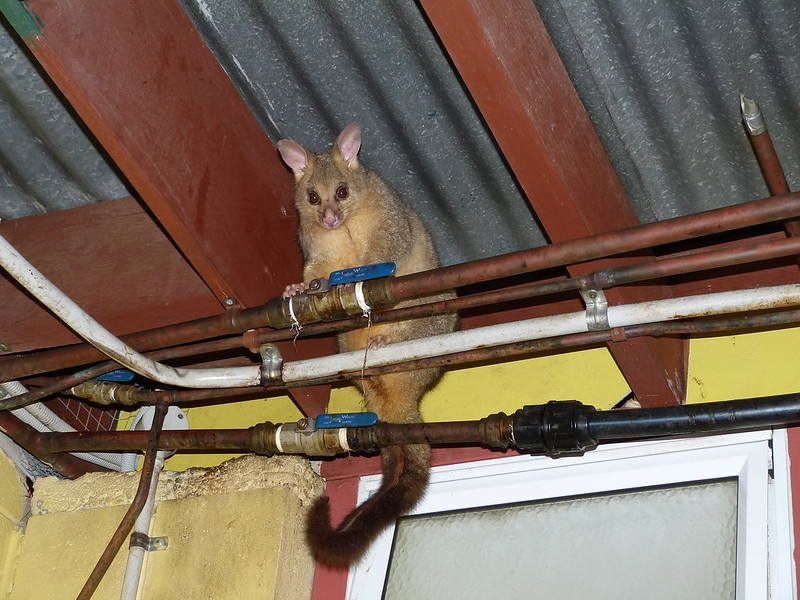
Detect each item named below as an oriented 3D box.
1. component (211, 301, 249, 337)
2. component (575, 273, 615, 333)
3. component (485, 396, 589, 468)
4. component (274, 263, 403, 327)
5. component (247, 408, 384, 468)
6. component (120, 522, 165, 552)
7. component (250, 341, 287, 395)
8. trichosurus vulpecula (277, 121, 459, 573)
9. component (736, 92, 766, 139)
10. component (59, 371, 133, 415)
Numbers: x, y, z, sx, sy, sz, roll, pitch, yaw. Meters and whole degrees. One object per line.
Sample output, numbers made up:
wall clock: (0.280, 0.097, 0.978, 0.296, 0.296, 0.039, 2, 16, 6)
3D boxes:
component: (-0.727, 0.079, 4.122, 0.098, 0.138, 0.048, -7, -1, 29)
component: (0.766, 0.016, 3.789, 0.115, 0.230, 0.098, -14, 9, -2)
component: (0.583, 0.520, 3.857, 0.332, 0.156, 0.181, -6, -32, 23)
component: (-0.213, -0.087, 4.056, 0.561, 0.204, 0.192, -24, -69, 10)
component: (-0.291, 0.586, 4.143, 0.716, 0.233, 0.208, -3, -14, 18)
component: (-1.136, 1.091, 4.304, 0.167, 0.085, 0.063, 5, -11, -11)
component: (-0.553, 0.272, 4.253, 0.130, 0.121, 0.199, -2, -69, 33)
trichosurus vulpecula: (-0.101, 0.260, 4.966, 0.719, 0.674, 2.198, -6, -71, 10)
component: (1.303, -0.682, 3.608, 0.211, 0.063, 0.056, 52, -19, -22)
component: (-1.404, 0.433, 4.639, 0.382, 0.196, 0.118, -3, -22, 28)
